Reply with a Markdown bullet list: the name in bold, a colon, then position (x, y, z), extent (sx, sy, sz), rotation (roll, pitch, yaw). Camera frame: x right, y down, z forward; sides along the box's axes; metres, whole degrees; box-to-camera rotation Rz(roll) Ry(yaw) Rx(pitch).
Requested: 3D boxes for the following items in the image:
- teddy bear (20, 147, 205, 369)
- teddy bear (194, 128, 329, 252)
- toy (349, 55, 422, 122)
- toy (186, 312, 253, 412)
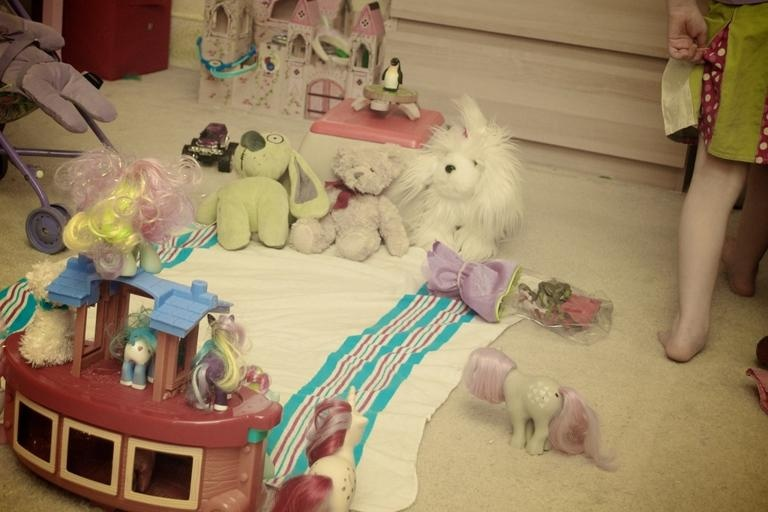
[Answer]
- **teddy bear**: position (-0.590, -0.002, 1.347), extent (0.367, 0.415, 0.239), rotation (8, 25, 5)
- **teddy bear**: position (-0.380, -0.203, 2.146), extent (0.384, 0.296, 0.410), rotation (1, 35, 7)
- **toy**: position (0.018, -0.600, 2.449), extent (0.224, 0.175, 0.236), rotation (12, 15, 11)
- **toy**: position (-0.336, 0.214, 1.315), extent (0.052, 0.131, 0.171), rotation (10, 53, 6)
